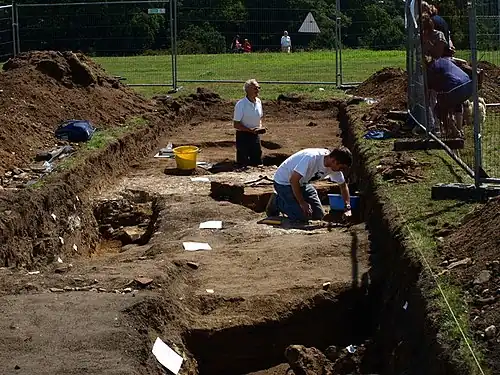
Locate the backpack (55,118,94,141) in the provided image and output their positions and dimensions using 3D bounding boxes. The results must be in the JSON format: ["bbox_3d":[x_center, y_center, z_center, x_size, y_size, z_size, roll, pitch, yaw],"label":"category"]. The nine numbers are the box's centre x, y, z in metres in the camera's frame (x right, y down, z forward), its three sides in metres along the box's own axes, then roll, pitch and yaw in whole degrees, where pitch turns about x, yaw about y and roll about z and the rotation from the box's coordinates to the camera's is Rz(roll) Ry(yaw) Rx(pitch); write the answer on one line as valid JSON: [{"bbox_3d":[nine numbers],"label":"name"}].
[{"bbox_3d":[-3.072,-0.992,12.764,0.474,0.175,0.374,0,40,-6],"label":"backpack"}]

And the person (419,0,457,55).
[{"bbox_3d":[2.733,-2.312,10.696,0.464,0.813,0.209,0,9,20],"label":"person"}]

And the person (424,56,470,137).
[{"bbox_3d":[2.951,-1.338,10.729,0.457,1.135,0.902,-4,9,-7],"label":"person"}]

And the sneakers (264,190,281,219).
[{"bbox_3d":[0.340,0.256,11.211,0.142,0.185,0.432,2,44,5],"label":"sneakers"}]

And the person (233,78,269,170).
[{"bbox_3d":[-0.028,-1.112,13.000,0.526,1.565,0.635,-3,9,-1],"label":"person"}]

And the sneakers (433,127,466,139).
[{"bbox_3d":[2.896,-0.793,10.642,0.101,0.140,0.295,-7,17,-43],"label":"sneakers"}]

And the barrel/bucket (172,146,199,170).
[{"bbox_3d":[-1.175,-0.521,13.244,0.442,0.369,0.457,-2,16,0],"label":"barrel/bucket"}]
